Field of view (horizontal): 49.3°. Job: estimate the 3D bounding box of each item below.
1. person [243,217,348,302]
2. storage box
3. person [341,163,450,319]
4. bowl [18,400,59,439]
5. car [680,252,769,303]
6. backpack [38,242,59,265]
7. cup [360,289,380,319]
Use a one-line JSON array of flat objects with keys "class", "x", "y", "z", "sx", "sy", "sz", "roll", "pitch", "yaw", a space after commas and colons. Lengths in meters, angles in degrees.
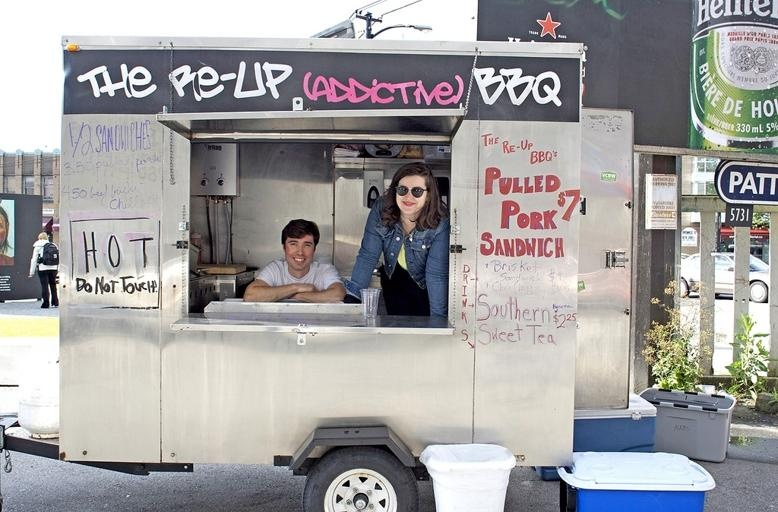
[{"class": "person", "x": -0.860, "y": 0.038, "z": 7.890, "sx": 0.887, "sy": 0.650, "sz": 0.873, "roll": -1, "pitch": 13, "yaw": -8}, {"class": "storage box", "x": 2.519, "y": 1.845, "z": 8.170, "sx": 1.457, "sy": 0.582, "sz": 0.977, "roll": -1, "pitch": 1, "yaw": 11}, {"class": "person", "x": 0.094, "y": -0.140, "z": 7.727, "sx": 0.992, "sy": 1.578, "sz": 0.850, "roll": 10, "pitch": 28, "yaw": 13}, {"class": "bowl", "x": -2.959, "y": 1.377, "z": 7.267, "sx": 0.317, "sy": 0.258, "sz": 0.340, "roll": 2, "pitch": 1, "yaw": 0}, {"class": "car", "x": 4.957, "y": 0.317, "z": 12.519, "sx": 1.683, "sy": 0.737, "sz": 0.876, "roll": -2, "pitch": 0, "yaw": 16}, {"class": "backpack", "x": -5.999, "y": -0.042, "z": 14.923, "sx": 0.318, "sy": 0.443, "sz": 0.405, "roll": 4, "pitch": -10, "yaw": -38}, {"class": "cup", "x": -0.158, "y": 0.397, "z": 7.260, "sx": 0.224, "sy": 0.273, "sz": 0.206, "roll": 1, "pitch": -3, "yaw": 0}]
